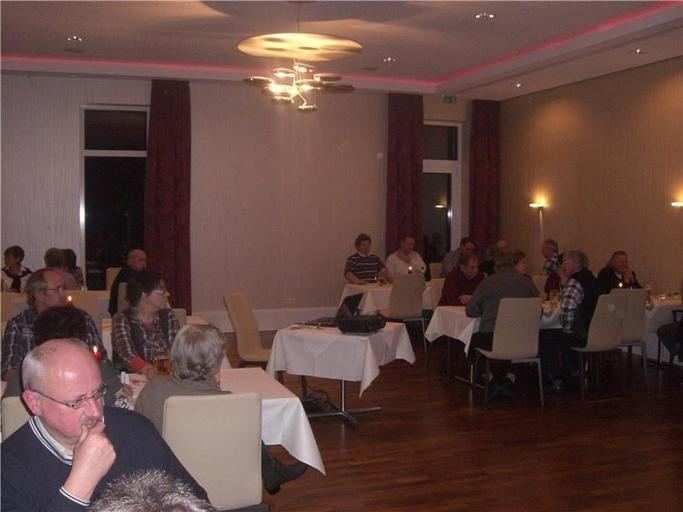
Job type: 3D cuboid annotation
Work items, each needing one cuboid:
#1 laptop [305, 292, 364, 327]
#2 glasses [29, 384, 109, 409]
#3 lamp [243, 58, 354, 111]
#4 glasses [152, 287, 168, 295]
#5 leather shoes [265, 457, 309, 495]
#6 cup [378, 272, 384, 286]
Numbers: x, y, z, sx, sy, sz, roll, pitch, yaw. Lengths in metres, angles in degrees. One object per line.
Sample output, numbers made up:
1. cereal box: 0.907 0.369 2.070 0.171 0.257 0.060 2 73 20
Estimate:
1. laptop: -0.023 0.501 5.319 0.332 0.233 0.375 1 0 20
2. glasses: -0.971 0.497 2.099 0.245 0.068 0.095 -3 6 -30
3. lamp: -0.645 -2.297 7.813 1.145 0.508 1.164 1 4 -17
4. glasses: -1.259 0.237 4.071 0.052 0.039 0.061 -1 6 2
5. leather shoes: -0.335 1.238 3.395 0.255 0.186 0.141 -17 -9 -11
6. cup: 0.558 0.311 8.215 0.106 0.114 0.150 0 -4 4
